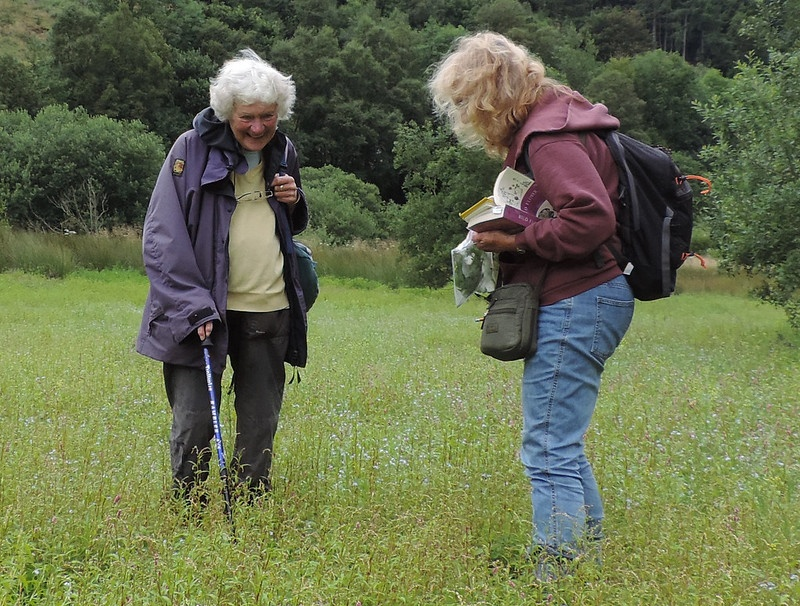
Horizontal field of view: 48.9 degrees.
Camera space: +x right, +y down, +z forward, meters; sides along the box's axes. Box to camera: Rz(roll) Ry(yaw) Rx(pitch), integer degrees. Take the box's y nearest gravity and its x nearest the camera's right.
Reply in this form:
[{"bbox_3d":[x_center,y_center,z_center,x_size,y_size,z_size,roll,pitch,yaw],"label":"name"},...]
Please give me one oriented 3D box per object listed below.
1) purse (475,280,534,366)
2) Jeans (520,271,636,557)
[{"bbox_3d":[0.728,0.136,5.902,0.294,0.546,0.423,23,-27,-35],"label":"purse"},{"bbox_3d":[1.100,0.696,5.691,0.638,1.745,0.514,3,7,8],"label":"Jeans"}]
